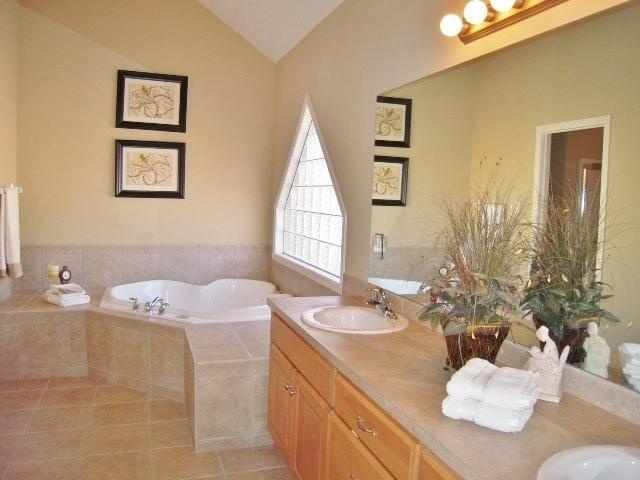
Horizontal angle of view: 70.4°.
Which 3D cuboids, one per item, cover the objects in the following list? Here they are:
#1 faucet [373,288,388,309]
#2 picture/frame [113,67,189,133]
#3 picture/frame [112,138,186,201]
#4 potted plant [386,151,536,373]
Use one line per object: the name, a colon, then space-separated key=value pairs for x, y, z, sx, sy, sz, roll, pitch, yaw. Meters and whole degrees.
faucet: x=0.357 y=0.345 z=2.650 sx=0.037 sy=0.103 sz=0.101 roll=2 pitch=-2 yaw=-26
picture/frame: x=-1.774 y=-1.459 z=4.660 sx=0.655 sy=0.625 sz=0.049 roll=1 pitch=3 yaw=-22
picture/frame: x=-1.813 y=-0.758 z=4.715 sx=0.611 sy=0.585 sz=0.047 roll=-1 pitch=3 yaw=-22
potted plant: x=0.585 y=0.067 z=2.093 sx=0.705 sy=1.077 sz=0.666 roll=1 pitch=2 yaw=40
